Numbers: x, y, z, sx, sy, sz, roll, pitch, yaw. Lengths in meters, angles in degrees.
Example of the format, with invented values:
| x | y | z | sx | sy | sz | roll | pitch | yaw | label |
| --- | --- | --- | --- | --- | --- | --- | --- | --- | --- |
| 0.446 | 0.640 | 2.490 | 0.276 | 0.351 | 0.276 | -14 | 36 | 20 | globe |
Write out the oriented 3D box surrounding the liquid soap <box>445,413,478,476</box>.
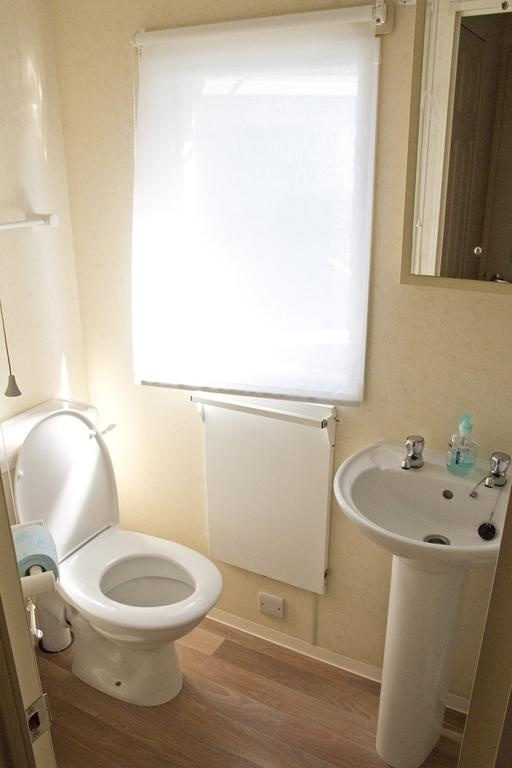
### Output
| x | y | z | sx | sy | sz | roll | pitch | yaw | label |
| --- | --- | --- | --- | --- | --- | --- | --- | --- | --- |
| 0.522 | 0.137 | 1.385 | 0.068 | 0.159 | 0.123 | 9 | 20 | 23 | liquid soap |

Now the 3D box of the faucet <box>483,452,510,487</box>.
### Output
| x | y | z | sx | sy | sz | roll | pitch | yaw | label |
| --- | --- | --- | --- | --- | --- | --- | --- | --- | --- |
| 0.566 | 0.205 | 1.296 | 0.044 | 0.086 | 0.084 | 13 | 26 | 37 | faucet |
